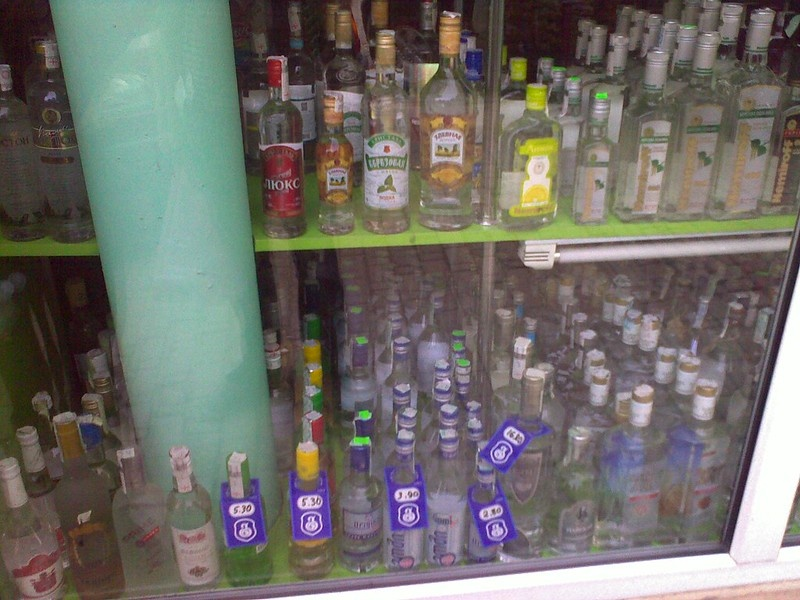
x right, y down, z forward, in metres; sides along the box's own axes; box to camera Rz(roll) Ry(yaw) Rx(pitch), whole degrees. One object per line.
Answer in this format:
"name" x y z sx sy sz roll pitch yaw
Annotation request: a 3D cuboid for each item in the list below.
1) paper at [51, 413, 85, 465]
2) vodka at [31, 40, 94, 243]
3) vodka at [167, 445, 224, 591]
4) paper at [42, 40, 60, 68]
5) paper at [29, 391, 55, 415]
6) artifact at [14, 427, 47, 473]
"paper" -0.659 0.267 1.235 0.041 0.108 0.080 -13 19 -29
"vodka" -0.642 -0.287 1.159 0.108 0.362 0.038 0 17 12
"vodka" -0.434 0.432 1.272 0.086 0.331 0.096 -4 17 0
"paper" -0.619 -0.432 1.102 0.031 0.051 0.012 1 12 0
"paper" -0.764 0.218 1.323 0.036 0.043 0.044 3 29 -6
"artifact" -0.748 0.303 1.252 0.051 0.113 0.050 -14 39 -25
